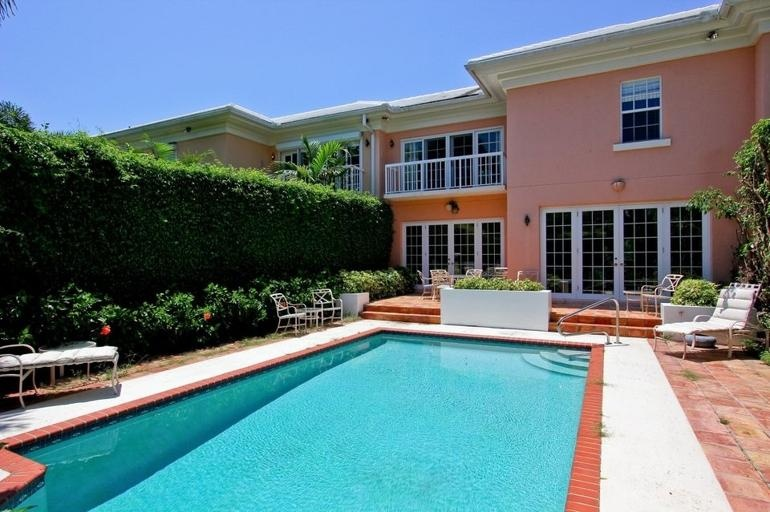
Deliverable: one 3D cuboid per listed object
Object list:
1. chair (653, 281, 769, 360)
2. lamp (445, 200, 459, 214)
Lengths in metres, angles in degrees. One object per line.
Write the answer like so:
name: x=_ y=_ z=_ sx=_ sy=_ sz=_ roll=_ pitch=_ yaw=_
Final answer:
chair: x=7.257 y=1.387 z=10.985 sx=2.756 sy=1.923 sz=1.498 roll=0 pitch=-4 yaw=-20
lamp: x=2.669 y=-1.817 z=17.902 sx=0.367 sy=0.457 sz=0.137 roll=0 pitch=38 yaw=4
